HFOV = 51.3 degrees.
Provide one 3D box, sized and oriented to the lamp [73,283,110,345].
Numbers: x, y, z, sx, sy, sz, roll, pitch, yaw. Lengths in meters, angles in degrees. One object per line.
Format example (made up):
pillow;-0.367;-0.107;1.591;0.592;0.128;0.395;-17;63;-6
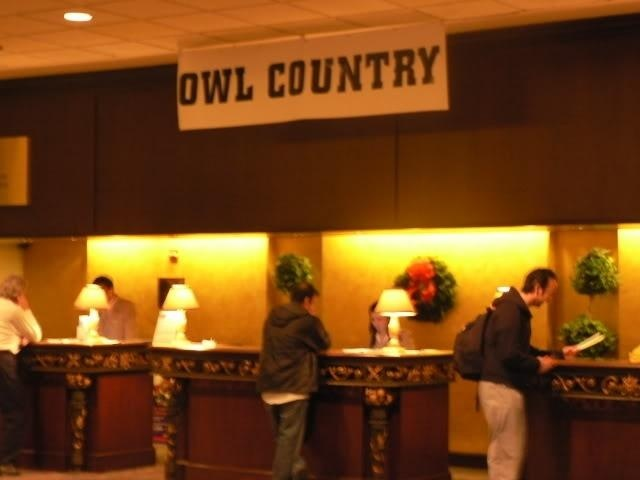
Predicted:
lamp;-2.726;0.820;7.973;0.345;0.707;0.351;0;12;-39

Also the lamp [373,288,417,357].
lamp;0.792;0.785;6.616;0.488;0.701;0.512;1;1;36

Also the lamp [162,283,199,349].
lamp;-1.509;0.802;7.363;0.336;0.676;0.377;1;2;35
